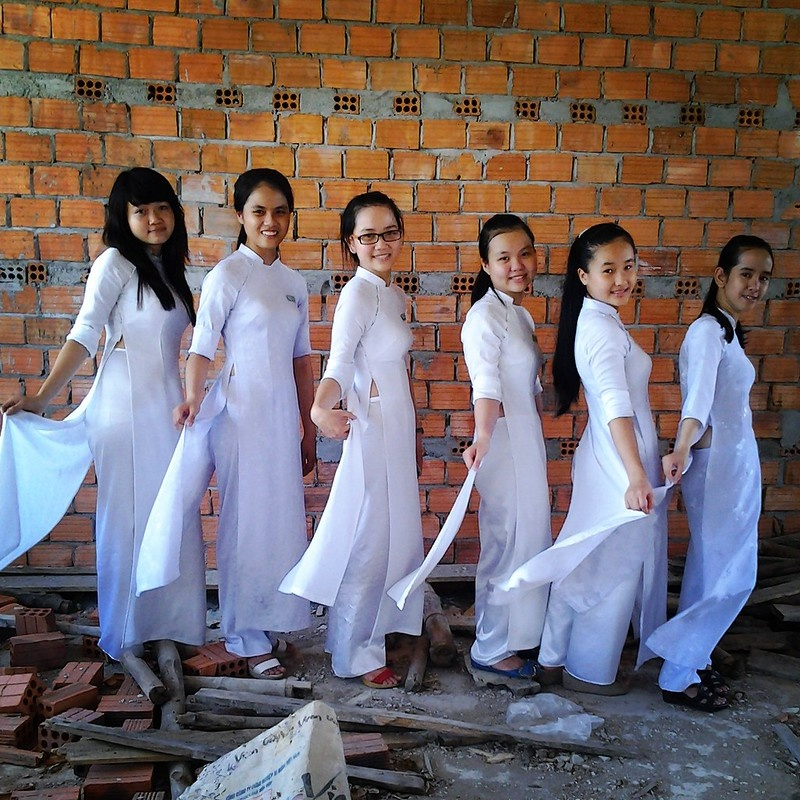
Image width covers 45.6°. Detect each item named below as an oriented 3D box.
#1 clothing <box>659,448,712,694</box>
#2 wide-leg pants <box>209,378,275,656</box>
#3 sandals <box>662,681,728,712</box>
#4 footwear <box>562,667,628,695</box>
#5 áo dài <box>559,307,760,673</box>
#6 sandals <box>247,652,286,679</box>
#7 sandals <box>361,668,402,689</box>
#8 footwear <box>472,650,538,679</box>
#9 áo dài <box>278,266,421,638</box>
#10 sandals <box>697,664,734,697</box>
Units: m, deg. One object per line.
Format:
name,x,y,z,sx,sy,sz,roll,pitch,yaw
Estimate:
clothing,1.182,0.661,3.799,0.286,0.930,0.437,3,10,18
wide-leg pants,-0.661,0.544,4.042,0.278,0.944,0.234,-8,-3,-4
sandals,1.153,1.153,3.753,0.266,0.091,0.089,0,16,8
footwear,0.785,1.125,3.854,0.280,0.087,0.090,0,8,1
áo dài,1.209,0.351,3.918,0.584,1.597,0.631,-1,-3,15
sandals,-0.539,1.082,3.900,0.078,0.047,0.141,2,-5,-37
sandals,-0.074,1.112,3.844,0.134,0.042,0.067,1,6,7
footwear,0.442,1.068,3.895,0.203,0.040,0.101,1,24,10
áo dài,-0.203,0.228,3.860,0.627,1.460,0.372,-4,10,-22
sandals,1.264,1.113,3.836,0.067,0.056,0.170,-18,9,-9
